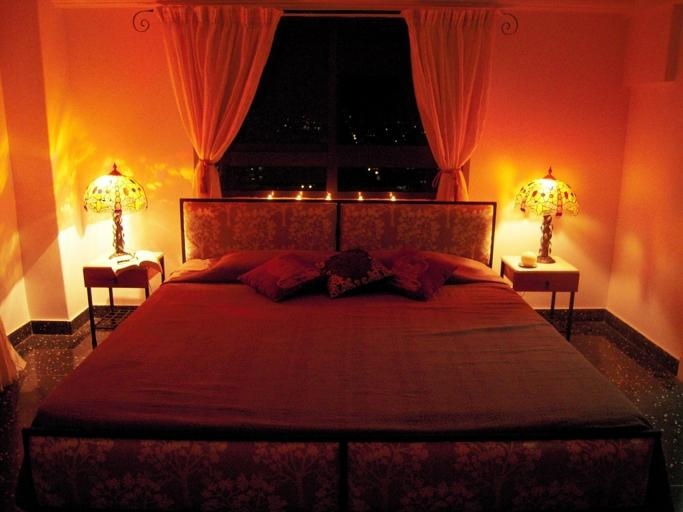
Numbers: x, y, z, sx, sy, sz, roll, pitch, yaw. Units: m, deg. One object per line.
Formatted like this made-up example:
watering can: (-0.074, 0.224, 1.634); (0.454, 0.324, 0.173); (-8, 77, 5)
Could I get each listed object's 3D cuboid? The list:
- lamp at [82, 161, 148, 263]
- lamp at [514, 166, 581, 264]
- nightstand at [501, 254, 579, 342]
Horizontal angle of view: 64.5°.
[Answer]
lamp: (-1.792, -0.358, 4.359); (0.425, 0.749, 0.451); (-5, -1, 42)
lamp: (1.710, -0.338, 4.480); (0.484, 0.786, 0.494); (1, 10, 6)
nightstand: (1.522, 0.378, 4.559); (0.654, 0.806, 0.658); (0, 12, 0)
